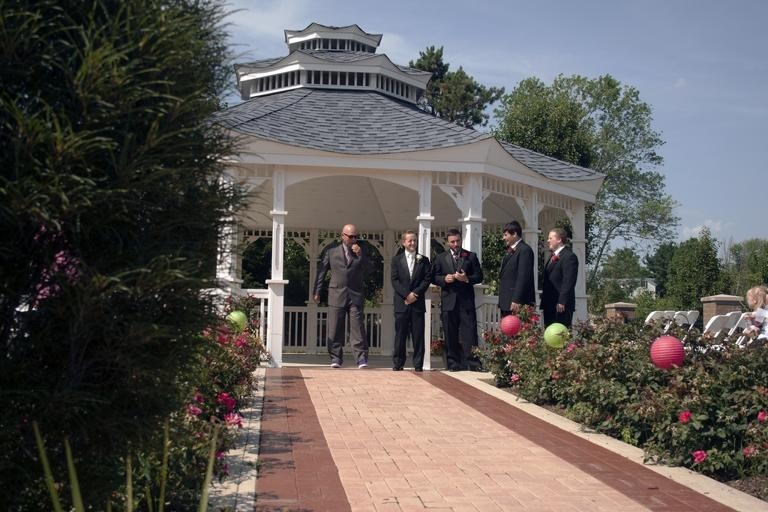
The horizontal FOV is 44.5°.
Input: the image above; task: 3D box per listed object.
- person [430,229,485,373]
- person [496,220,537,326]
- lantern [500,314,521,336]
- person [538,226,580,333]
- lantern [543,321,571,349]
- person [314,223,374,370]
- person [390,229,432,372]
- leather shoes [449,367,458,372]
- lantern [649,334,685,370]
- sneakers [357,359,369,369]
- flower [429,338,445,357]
[{"bbox_3d":[1.235,0.736,15.621,0.818,2.349,0.671,1,3,2],"label":"person"},{"bbox_3d":[2.157,0.266,15.084,0.609,1.592,1.447,1,3,7],"label":"person"},{"bbox_3d":[1.846,1.011,13.537,0.293,0.300,0.379,1,3,-5],"label":"lantern"},{"bbox_3d":[2.767,0.371,14.755,0.538,1.584,1.419,2,3,10],"label":"person"},{"bbox_3d":[2.284,1.063,12.354,0.293,0.325,0.312,11,-38,3],"label":"lantern"},{"bbox_3d":[-0.639,0.703,16.071,0.680,2.455,1.035,-1,4,-33],"label":"person"},{"bbox_3d":[0.455,0.762,15.627,0.673,2.266,0.516,1,3,2],"label":"person"},{"bbox_3d":[1.169,1.855,15.473,0.161,0.068,0.199,1,3,-3],"label":"leather shoes"},{"bbox_3d":[3.107,1.050,10.283,0.326,0.382,0.331,-2,5,20],"label":"lantern"},{"bbox_3d":[-0.362,1.825,15.927,0.154,0.182,0.435,1,-8,-7],"label":"sneakers"},{"bbox_3d":[1.020,1.657,17.054,0.297,0.316,0.291,5,-7,-41],"label":"flower"}]
